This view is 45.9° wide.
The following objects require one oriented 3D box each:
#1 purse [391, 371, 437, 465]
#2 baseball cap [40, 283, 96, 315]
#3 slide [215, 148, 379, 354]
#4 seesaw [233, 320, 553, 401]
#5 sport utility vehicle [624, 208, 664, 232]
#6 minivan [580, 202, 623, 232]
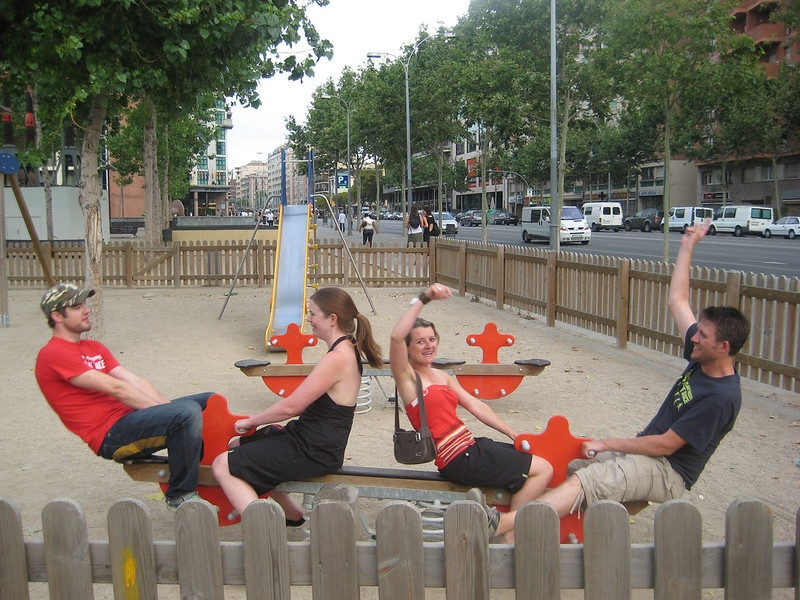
[{"bbox_3d":[0.044,0.908,7.212,0.422,0.600,0.488,4,10,1],"label":"purse"},{"bbox_3d":[-2.559,0.025,7.270,0.348,0.213,0.251,-32,15,-2],"label":"baseball cap"},{"bbox_3d":[-1.917,-1.002,16.855,2.682,3.415,4.340,0,6,-2],"label":"slide"},{"bbox_3d":[-0.042,0.684,10.125,3.325,0.978,0.477,0,-28,-8],"label":"seesaw"},{"bbox_3d":[14.099,-4.561,54.083,1.005,0.996,2.054,-2,10,-25],"label":"sport utility vehicle"},{"bbox_3d":[11.677,-4.800,54.520,1.651,1.612,3.040,-1,8,-4],"label":"minivan"}]
